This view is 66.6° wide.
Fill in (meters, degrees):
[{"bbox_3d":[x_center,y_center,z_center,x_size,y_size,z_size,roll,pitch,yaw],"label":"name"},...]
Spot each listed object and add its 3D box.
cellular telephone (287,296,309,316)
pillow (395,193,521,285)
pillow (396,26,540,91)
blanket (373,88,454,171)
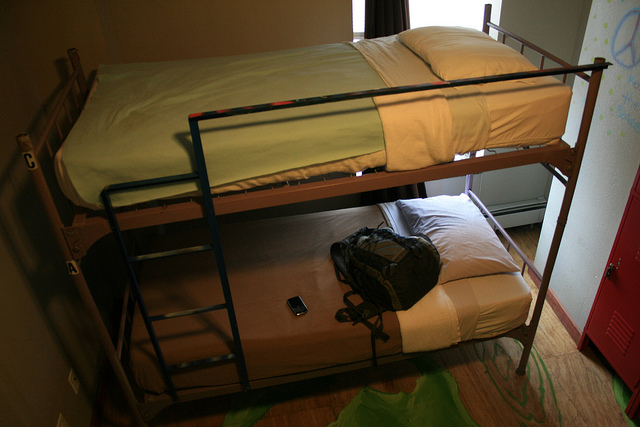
[{"bbox_3d":[-0.186,0.752,3.959,0.113,0.067,0.176,-17,25,-21],"label":"cellular telephone"},{"bbox_3d":[1.227,0.235,4.434,0.669,0.310,1.097,-15,34,2],"label":"pillow"},{"bbox_3d":[1.259,-1.368,4.209,0.920,0.345,1.394,-2,28,-2],"label":"pillow"},{"bbox_3d":[0.688,-0.542,3.315,0.537,0.580,0.187,-9,13,-1],"label":"blanket"}]
